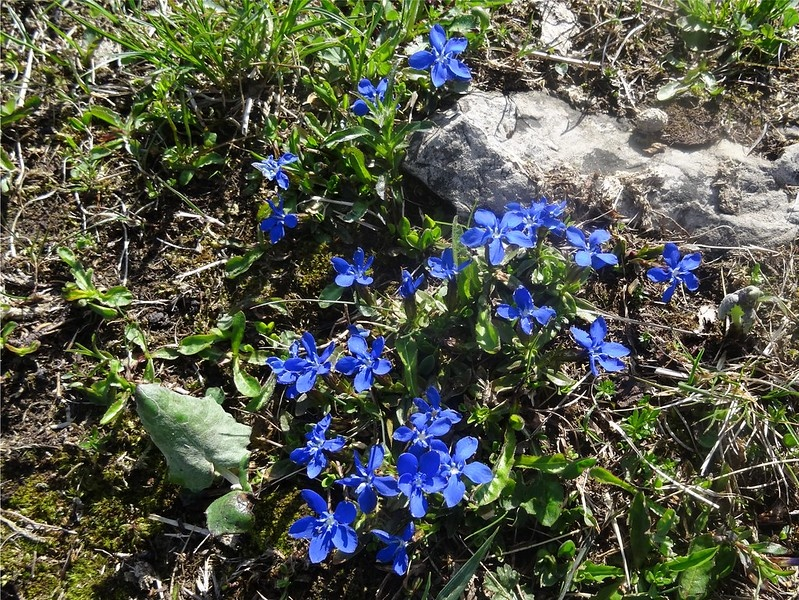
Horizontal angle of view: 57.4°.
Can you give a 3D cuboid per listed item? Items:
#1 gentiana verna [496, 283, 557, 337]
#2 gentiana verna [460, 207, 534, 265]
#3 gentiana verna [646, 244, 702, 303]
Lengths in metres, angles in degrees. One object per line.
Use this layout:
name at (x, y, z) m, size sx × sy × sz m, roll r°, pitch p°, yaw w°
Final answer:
gentiana verna at (0.581, 0.053, 3.333) m, size 0.239 × 0.108 × 0.245 m, roll -3°, pitch 77°, yaw 4°
gentiana verna at (0.463, -0.311, 3.400) m, size 0.367 × 0.446 × 0.126 m, roll 0°, pitch 81°, yaw -11°
gentiana verna at (1.330, -0.140, 3.516) m, size 0.276 × 0.091 × 0.301 m, roll -11°, pitch 95°, yaw 9°
